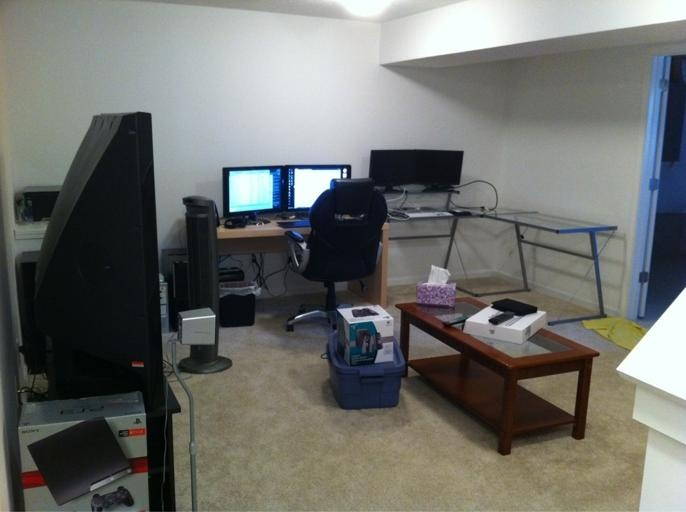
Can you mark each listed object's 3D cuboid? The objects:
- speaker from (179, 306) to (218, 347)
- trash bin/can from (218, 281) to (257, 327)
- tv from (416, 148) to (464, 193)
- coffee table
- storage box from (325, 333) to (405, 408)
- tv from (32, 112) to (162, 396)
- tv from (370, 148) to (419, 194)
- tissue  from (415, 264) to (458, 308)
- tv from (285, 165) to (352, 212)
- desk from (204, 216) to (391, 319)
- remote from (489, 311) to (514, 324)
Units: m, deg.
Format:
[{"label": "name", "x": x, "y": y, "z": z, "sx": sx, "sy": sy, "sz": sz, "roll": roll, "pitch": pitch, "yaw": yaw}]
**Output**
[{"label": "speaker", "x": -0.694, "y": 0.335, "z": 2.636, "sx": 0.177, "sy": 0.173, "sz": 0.174, "roll": 3, "pitch": 3, "yaw": -18}, {"label": "trash bin/can", "x": -0.886, "y": 0.428, "z": 4.644, "sx": 0.383, "sy": 0.319, "sz": 0.332, "roll": -1, "pitch": 9, "yaw": -11}, {"label": "tv", "x": 0.974, "y": -0.863, "z": 5.514, "sx": 0.438, "sy": 0.385, "sz": 0.114, "roll": -2, "pitch": 15, "yaw": -12}, {"label": "coffee table", "x": 0.945, "y": 0.689, "z": 3.448, "sx": 0.619, "sy": 0.578, "sz": 1.094, "roll": -9, "pitch": 16, "yaw": -26}, {"label": "storage box", "x": 0.148, "y": 0.744, "z": 3.525, "sx": 0.472, "sy": 0.372, "sz": 0.378, "roll": -2, "pitch": 14, "yaw": -3}, {"label": "tv", "x": -1.007, "y": 0.010, "z": 2.256, "sx": 0.520, "sy": 1.146, "sz": 0.360, "roll": -4, "pitch": 14, "yaw": -10}, {"label": "tv", "x": 0.493, "y": -0.835, "z": 5.287, "sx": 0.595, "sy": 0.490, "sz": 0.138, "roll": -2, "pitch": 8, "yaw": -13}, {"label": "tissue ", "x": 0.664, "y": 0.229, "z": 3.863, "sx": 0.271, "sy": 0.292, "sz": 0.268, "roll": 4, "pitch": 15, "yaw": 14}, {"label": "tv", "x": -0.226, "y": -0.570, "z": 4.651, "sx": 0.494, "sy": 0.369, "sz": 0.037, "roll": -3, "pitch": 14, "yaw": -17}, {"label": "desk", "x": -0.590, "y": 0.107, "z": 5.193, "sx": 1.825, "sy": 0.916, "sz": 0.986, "roll": -6, "pitch": 15, "yaw": -23}, {"label": "remote", "x": 0.960, "y": 0.369, "z": 3.280, "sx": 0.066, "sy": 0.033, "sz": 0.137, "roll": 7, "pitch": 19, "yaw": 40}]
